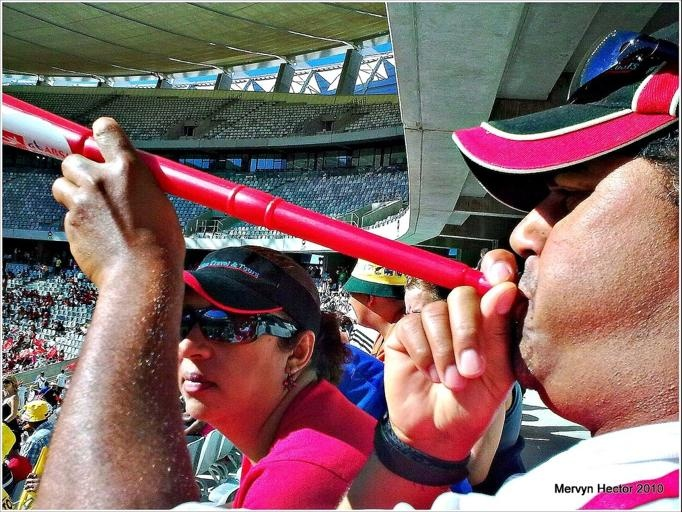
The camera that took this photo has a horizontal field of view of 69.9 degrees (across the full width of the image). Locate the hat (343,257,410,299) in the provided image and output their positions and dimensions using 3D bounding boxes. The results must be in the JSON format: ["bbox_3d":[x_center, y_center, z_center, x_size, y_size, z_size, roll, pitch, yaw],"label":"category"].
[{"bbox_3d":[0.282,0.223,3.998,0.412,0.201,0.317,23,-5,-8],"label":"hat"}]

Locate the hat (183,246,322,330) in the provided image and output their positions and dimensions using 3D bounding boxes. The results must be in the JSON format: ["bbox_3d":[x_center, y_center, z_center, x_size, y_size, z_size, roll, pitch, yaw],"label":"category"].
[{"bbox_3d":[-0.323,0.137,1.993,0.469,0.231,0.333,31,-15,-24],"label":"hat"}]
